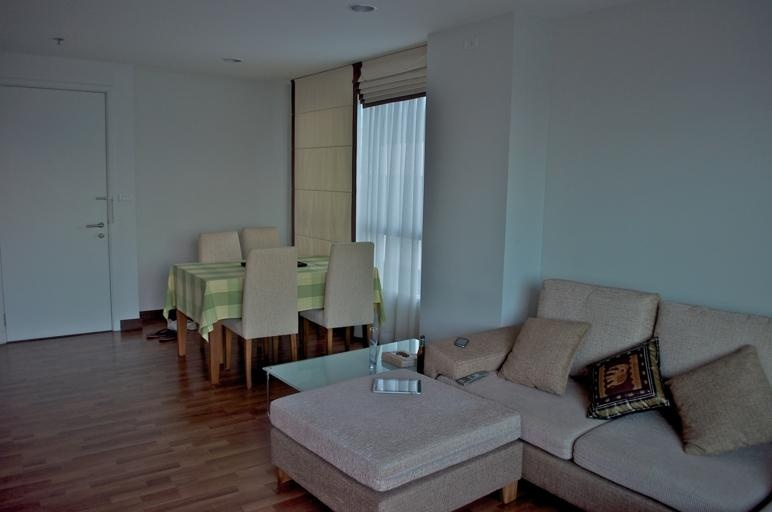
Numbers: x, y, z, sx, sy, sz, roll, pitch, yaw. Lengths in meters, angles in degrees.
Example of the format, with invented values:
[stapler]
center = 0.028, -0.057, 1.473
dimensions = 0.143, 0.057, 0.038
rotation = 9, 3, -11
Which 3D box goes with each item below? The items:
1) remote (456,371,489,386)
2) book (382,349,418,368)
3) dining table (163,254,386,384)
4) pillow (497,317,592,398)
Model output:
[remote]
center = 0.622, 0.863, 3.764
dimensions = 0.209, 0.025, 0.085
rotation = -9, 18, -33
[book]
center = 0.112, 0.819, 4.174
dimensions = 0.176, 0.080, 0.333
rotation = -12, 19, -42
[dining table]
center = -1.492, 0.353, 5.153
dimensions = 1.555, 0.732, 1.269
rotation = -5, 8, -36
[pillow]
center = 1.119, 0.659, 3.679
dimensions = 0.146, 0.495, 0.533
rotation = 37, -15, -29
